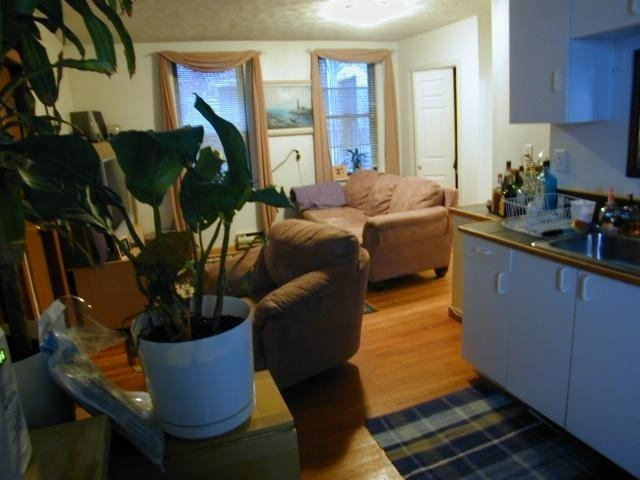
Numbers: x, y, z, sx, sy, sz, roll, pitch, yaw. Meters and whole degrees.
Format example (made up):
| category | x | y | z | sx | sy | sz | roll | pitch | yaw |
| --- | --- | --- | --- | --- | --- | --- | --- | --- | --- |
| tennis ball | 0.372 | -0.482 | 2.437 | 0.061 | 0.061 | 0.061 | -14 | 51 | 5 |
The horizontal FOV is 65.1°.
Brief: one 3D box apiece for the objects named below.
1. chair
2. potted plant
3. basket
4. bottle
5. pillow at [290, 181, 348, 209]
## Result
| category | x | y | z | sx | sy | sz | roll | pitch | yaw |
| --- | --- | --- | --- | --- | --- | --- | --- | --- | --- |
| chair | -0.265 | 0.371 | 3.282 | 0.862 | 0.821 | 1.142 | -14 | 15 | -31 |
| potted plant | -0.375 | -0.041 | 1.842 | 0.891 | 1.197 | 0.860 | 0 | 16 | -4 |
| basket | 1.265 | -0.140 | 2.859 | 0.355 | 0.127 | 0.269 | -19 | 28 | -25 |
| bottle | 1.275 | -0.310 | 3.166 | 0.337 | 0.448 | 0.447 | 7 | 14 | 39 |
| pillow | 0.014 | -0.543 | 6.177 | 0.450 | 0.158 | 0.406 | -5 | 25 | -10 |
